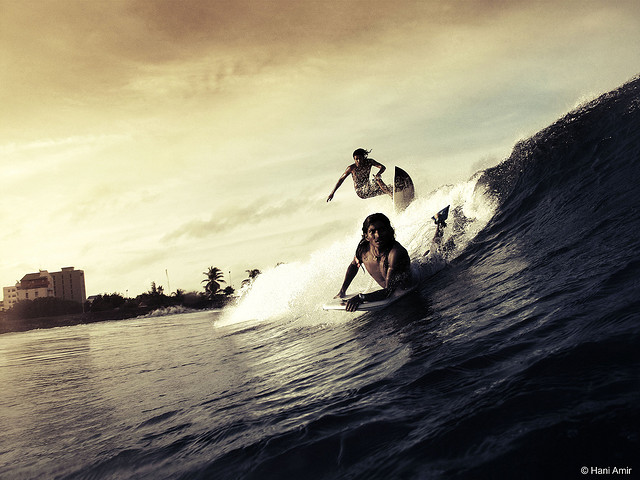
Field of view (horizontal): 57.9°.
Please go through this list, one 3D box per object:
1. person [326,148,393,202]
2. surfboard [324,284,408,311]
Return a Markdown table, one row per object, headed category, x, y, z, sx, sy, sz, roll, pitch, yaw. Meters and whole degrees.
| category | x | y | z | sx | sy | sz | roll | pitch | yaw |
| --- | --- | --- | --- | --- | --- | --- | --- | --- | --- |
| person | 1.176 | -1.581 | 14.732 | 1.199 | 1.241 | 1.233 | -12 | 2 | 7 |
| surfboard | 0.646 | 0.954 | 8.941 | 1.152 | 0.335 | 0.868 | -10 | 3 | 41 |
